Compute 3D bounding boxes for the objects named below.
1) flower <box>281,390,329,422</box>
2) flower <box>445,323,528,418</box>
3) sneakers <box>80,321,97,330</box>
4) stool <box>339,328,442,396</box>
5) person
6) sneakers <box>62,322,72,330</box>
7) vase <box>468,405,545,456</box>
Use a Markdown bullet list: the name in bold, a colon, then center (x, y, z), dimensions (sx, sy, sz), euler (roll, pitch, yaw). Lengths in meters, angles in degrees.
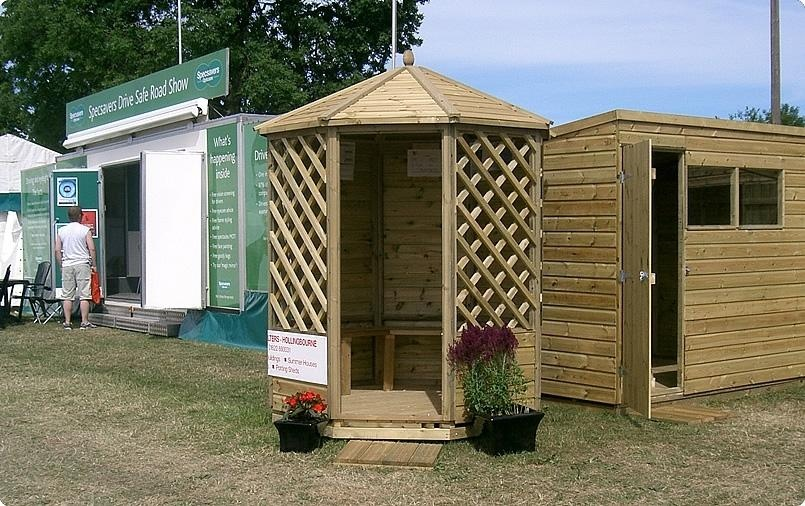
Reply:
- **flower**: center (-1.258, 1.989, 10.985), dimensions (0.526, 0.327, 0.496), euler (-14, -45, 18)
- **flower**: center (1.047, 1.510, 10.867), dimensions (0.938, 1.159, 0.293), euler (-1, -1, 2)
- **sneakers**: center (-6.394, 1.467, 17.512), dimensions (0.366, 0.143, 0.135), euler (-2, 2, -37)
- **stool**: center (-0.444, 1.391, 12.503), dimensions (1.441, 0.841, 0.939), euler (-1, 3, -21)
- **person**: center (-6.471, 0.302, 17.062), dimensions (0.738, 2.426, 0.861), euler (-1, -1, -22)
- **sneakers**: center (-6.740, 1.465, 17.334), dimensions (0.172, 0.166, 0.449), euler (0, 1, -21)
- **vase**: center (1.279, 2.129, 10.890), dimensions (0.773, 0.420, 0.563), euler (-1, 3, -23)
